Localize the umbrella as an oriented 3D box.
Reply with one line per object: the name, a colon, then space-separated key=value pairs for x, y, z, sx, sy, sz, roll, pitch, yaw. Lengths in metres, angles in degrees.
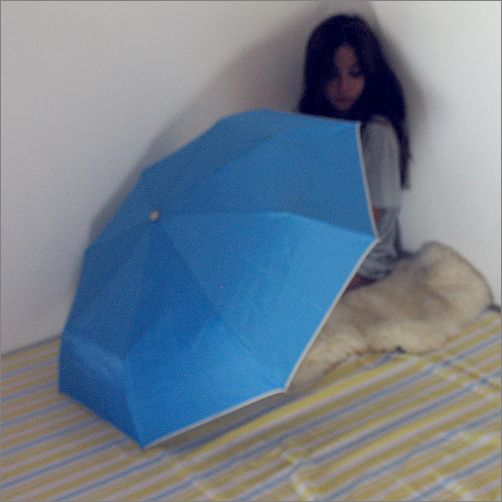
umbrella: x=-0.171 y=0.112 z=3.235 sx=1.522 sy=1.038 sz=0.879 roll=-9 pitch=31 yaw=-4
